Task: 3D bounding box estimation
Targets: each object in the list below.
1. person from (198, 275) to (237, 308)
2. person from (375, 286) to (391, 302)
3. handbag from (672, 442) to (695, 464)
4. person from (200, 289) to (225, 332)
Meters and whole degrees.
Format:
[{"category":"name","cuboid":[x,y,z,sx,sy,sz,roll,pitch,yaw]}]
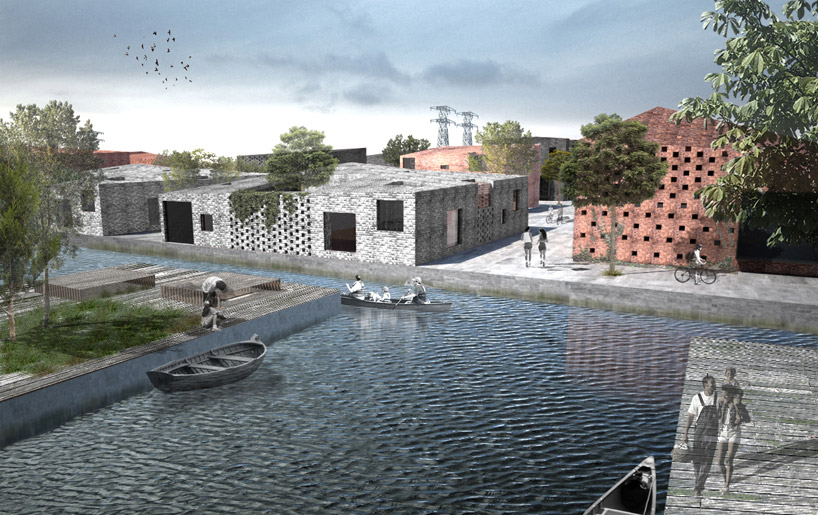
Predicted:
[{"category":"person","cuboid":[-8.939,1.510,33.209,1.574,1.895,0.784,0,-13,5]},{"category":"person","cuboid":[-1.396,2.044,39.912,0.528,1.375,0.618,7,8,22]},{"category":"handbag","cuboid":[9.655,6.931,25.422,0.611,0.160,0.638,-1,15,19]},{"category":"person","cuboid":[-8.972,2.360,32.786,1.063,1.779,0.973,-6,9,-29]}]
